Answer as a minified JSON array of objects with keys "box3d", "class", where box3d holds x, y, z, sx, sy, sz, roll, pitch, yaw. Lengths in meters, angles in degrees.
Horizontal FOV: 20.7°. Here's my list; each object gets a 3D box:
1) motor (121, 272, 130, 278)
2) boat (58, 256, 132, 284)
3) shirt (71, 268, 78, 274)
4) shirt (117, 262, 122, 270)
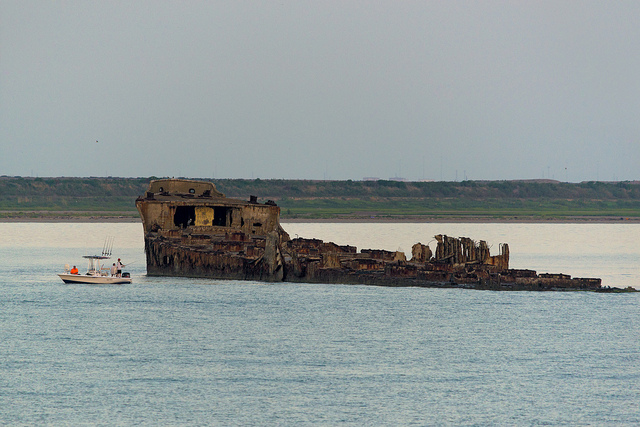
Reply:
[{"box3d":[-17.371,5.364,159.612,0.728,0.353,0.620,4,10,-5],"class":"motor"},{"box3d":[-20.303,4.963,160.299,6.512,2.657,2.543,-1,3,0],"class":"boat"},{"box3d":[-21.986,4.982,159.356,0.546,0.533,0.671,1,-4,-16],"class":"shirt"},{"box3d":[-17.899,4.520,159.790,0.557,0.890,0.872,-3,4,-10],"class":"shirt"}]
